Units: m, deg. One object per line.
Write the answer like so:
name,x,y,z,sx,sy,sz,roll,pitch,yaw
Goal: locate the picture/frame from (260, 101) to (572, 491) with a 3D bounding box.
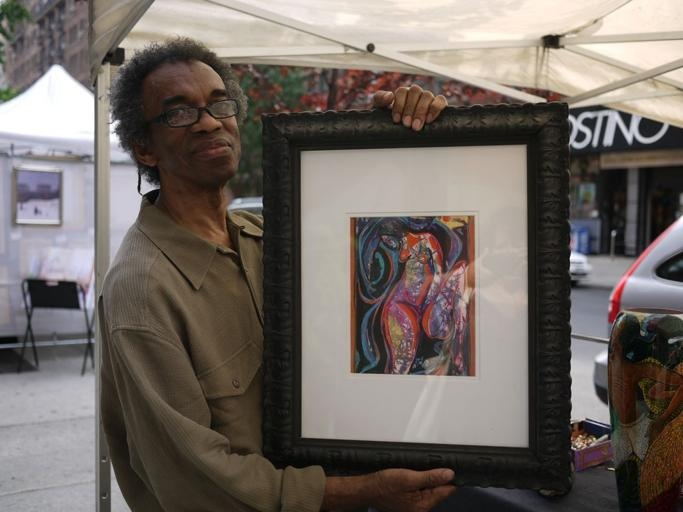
picture/frame,0.299,0.178,3.530,1.201,1.692,0.132,-1,-2,9
